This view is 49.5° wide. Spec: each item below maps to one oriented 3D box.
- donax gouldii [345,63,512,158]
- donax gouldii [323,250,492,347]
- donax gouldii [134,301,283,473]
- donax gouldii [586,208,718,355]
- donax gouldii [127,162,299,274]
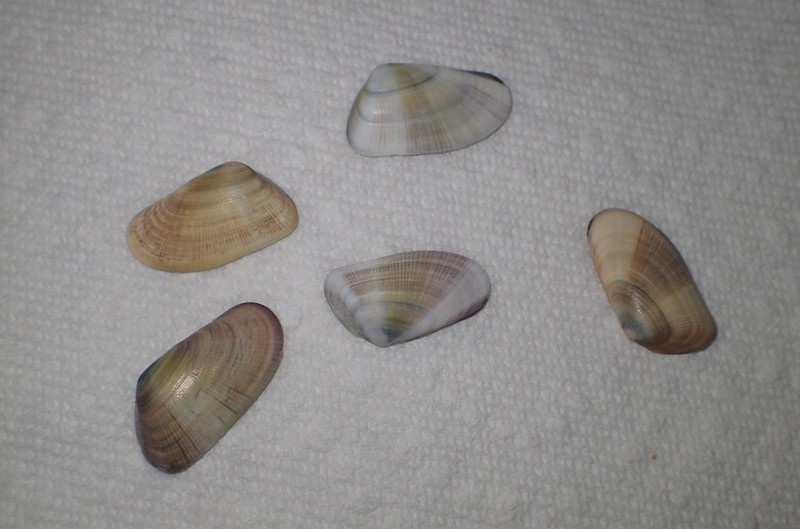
[{"bbox_3d":[0.050,-0.264,1.477,0.278,0.147,0.038,-5,-10,-2],"label":"donax gouldii"},{"bbox_3d":[0.013,0.052,1.472,0.281,0.174,0.065,-7,-27,-8],"label":"donax gouldii"},{"bbox_3d":[-0.310,0.197,1.491,0.342,0.213,0.107,-48,4,-4],"label":"donax gouldii"},{"bbox_3d":[0.424,0.041,1.483,0.161,0.282,0.081,-39,-5,14],"label":"donax gouldii"},{"bbox_3d":[-0.314,-0.067,1.458,0.275,0.179,0.076,-22,-6,-6],"label":"donax gouldii"}]
